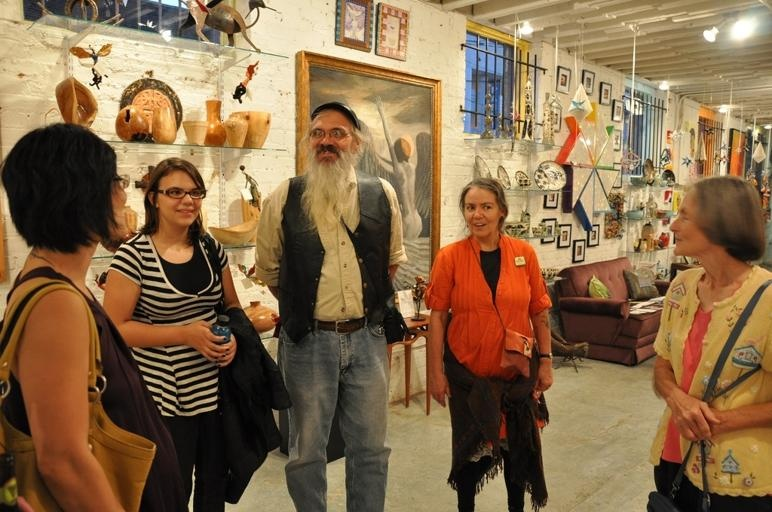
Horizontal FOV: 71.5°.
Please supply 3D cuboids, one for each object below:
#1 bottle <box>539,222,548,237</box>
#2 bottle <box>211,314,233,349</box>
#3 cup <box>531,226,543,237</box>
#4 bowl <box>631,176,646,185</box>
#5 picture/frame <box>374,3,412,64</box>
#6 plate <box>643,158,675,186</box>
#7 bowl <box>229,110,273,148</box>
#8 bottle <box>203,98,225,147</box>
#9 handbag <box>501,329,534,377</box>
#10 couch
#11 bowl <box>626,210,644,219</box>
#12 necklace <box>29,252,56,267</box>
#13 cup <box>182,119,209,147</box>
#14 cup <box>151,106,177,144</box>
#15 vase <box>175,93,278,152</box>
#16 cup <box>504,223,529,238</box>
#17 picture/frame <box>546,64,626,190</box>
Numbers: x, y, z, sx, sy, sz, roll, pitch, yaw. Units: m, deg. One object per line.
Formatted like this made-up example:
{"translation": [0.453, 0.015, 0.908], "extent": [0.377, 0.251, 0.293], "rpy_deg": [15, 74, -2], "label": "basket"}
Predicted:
{"translation": [1.894, -0.319, 6.542], "extent": [0.155, 0.212, 0.156], "rpy_deg": [-3, 3, 0], "label": "bottle"}
{"translation": [-0.766, 0.340, 2.489], "extent": [0.095, 0.123, 0.100], "rpy_deg": [1, 7, 0], "label": "bottle"}
{"translation": [1.830, -0.298, 6.445], "extent": [0.145, 0.115, 0.135], "rpy_deg": [-3, 6, 0], "label": "cup"}
{"translation": [4.015, -1.199, 8.502], "extent": [0.139, 0.141, 0.310], "rpy_deg": [7, 10, 43], "label": "bowl"}
{"translation": [0.045, -2.069, 4.925], "extent": [0.049, 0.661, 0.574], "rpy_deg": [9, 12, 43], "label": "picture/frame"}
{"translation": [4.507, -1.382, 8.877], "extent": [0.634, 0.449, 0.256], "rpy_deg": [-3, 13, -19], "label": "plate"}
{"translation": [-0.951, -0.909, 3.797], "extent": [0.259, 0.254, 0.268], "rpy_deg": [0, -2, 0], "label": "bowl"}
{"translation": [-1.195, -0.935, 3.730], "extent": [0.136, 0.338, 0.181], "rpy_deg": [-2, 7, -19], "label": "bottle"}
{"translation": [0.712, 0.537, 2.922], "extent": [0.231, 0.225, 0.066], "rpy_deg": [13, -14, -30], "label": "handbag"}
{"translation": [3.325, 0.648, 7.395], "extent": [2.051, 1.075, 1.064], "rpy_deg": [-9, 8, -44], "label": "couch"}
{"translation": [3.963, -0.660, 8.502], "extent": [0.167, 0.085, 0.176], "rpy_deg": [1, 5, 0], "label": "bowl"}
{"translation": [-1.036, 0.007, 1.609], "extent": [0.058, 0.053, 0.057], "rpy_deg": [-2, 5, -24], "label": "necklace"}
{"translation": [-1.281, -0.844, 3.676], "extent": [0.168, 0.159, 0.169], "rpy_deg": [2, 4, 0], "label": "cup"}
{"translation": [-1.412, -0.832, 3.412], "extent": [0.166, 0.225, 0.086], "rpy_deg": [2, -2, -33], "label": "cup"}
{"translation": [-1.080, -0.899, 3.717], "extent": [0.554, 0.287, 0.315], "rpy_deg": [-2, 2, -41], "label": "vase"}
{"translation": [1.516, -0.337, 6.123], "extent": [0.237, 0.150, 0.241], "rpy_deg": [0, 7, 0], "label": "cup"}
{"translation": [2.670, -1.762, 7.231], "extent": [0.153, 1.750, 1.848], "rpy_deg": [6, 12, 38], "label": "picture/frame"}
